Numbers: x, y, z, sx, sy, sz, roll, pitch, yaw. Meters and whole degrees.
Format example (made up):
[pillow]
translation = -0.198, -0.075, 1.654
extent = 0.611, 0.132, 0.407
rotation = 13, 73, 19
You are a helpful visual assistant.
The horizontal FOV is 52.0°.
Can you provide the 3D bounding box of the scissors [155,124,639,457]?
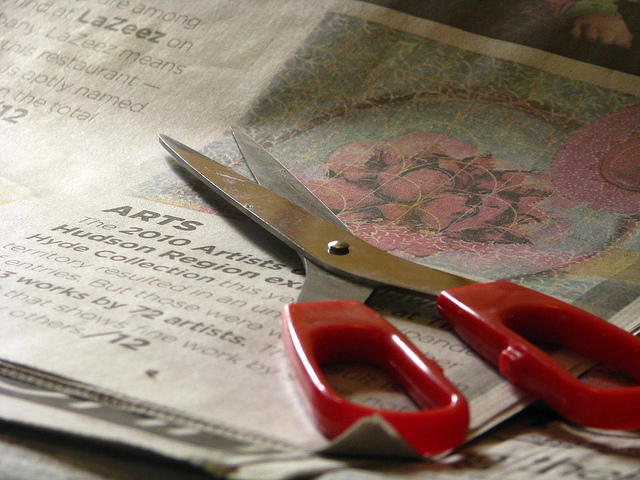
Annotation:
[scissors]
translation = 0.017, 0.035, 0.447
extent = 0.194, 0.042, 0.301
rotation = -16, 30, -38
